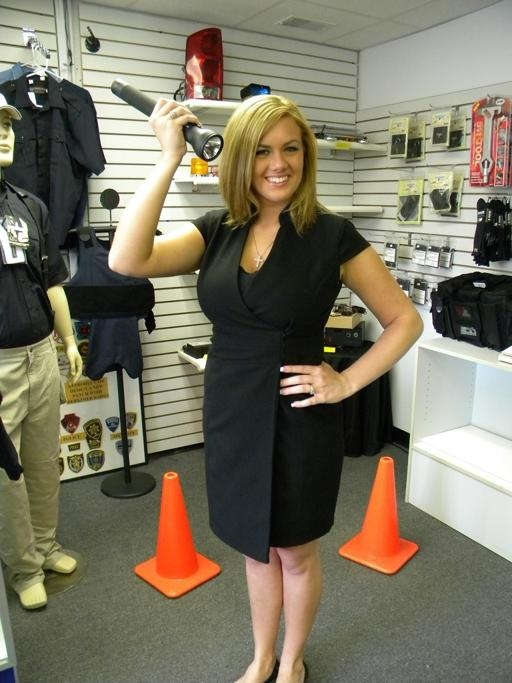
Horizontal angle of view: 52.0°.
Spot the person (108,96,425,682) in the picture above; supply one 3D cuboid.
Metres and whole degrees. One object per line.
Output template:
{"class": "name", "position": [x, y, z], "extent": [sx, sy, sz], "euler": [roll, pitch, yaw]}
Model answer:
{"class": "person", "position": [0.029, 0.288, 1.440], "extent": [0.763, 1.753, 0.361], "euler": [-3, 9, -13]}

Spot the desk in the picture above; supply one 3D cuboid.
{"class": "desk", "position": [0.739, 0.447, 3.937], "extent": [0.501, 0.638, 0.586], "euler": [-2, -2, -6]}

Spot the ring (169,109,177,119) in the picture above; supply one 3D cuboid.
{"class": "ring", "position": [-0.175, -0.481, 1.115], "extent": [0.017, 0.021, 0.010], "euler": [7, 12, 39]}
